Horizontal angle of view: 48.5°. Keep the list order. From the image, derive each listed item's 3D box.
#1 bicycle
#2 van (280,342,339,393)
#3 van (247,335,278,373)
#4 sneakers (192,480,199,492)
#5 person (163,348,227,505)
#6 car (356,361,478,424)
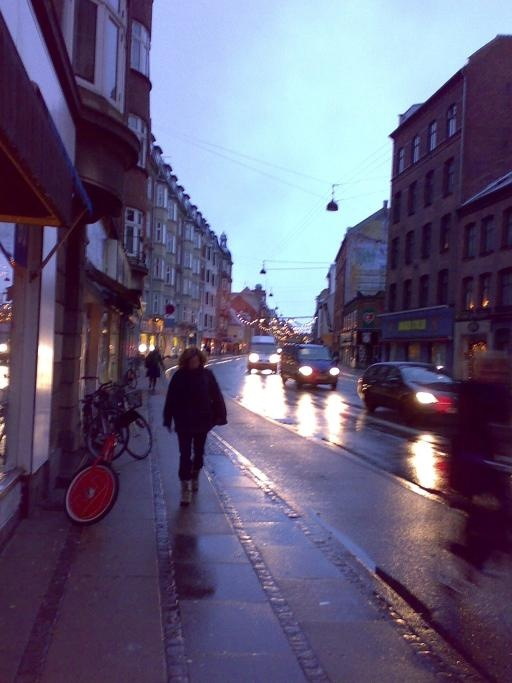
[{"bbox_3d":[-1.696,1.057,5.826,0.745,1.159,1.700,-10,0,2],"label":"bicycle"},{"bbox_3d":[2.240,0.994,24.654,1.502,2.123,3.937,1,1,-11],"label":"van"},{"bbox_3d":[0.357,0.876,37.129,1.262,1.666,2.880,-1,-6,-3],"label":"van"},{"bbox_3d":[-0.664,1.573,6.205,0.061,0.120,0.114,1,-8,-4],"label":"sneakers"},{"bbox_3d":[-0.645,0.829,5.846,0.589,1.663,0.596,-1,19,-13],"label":"person"},{"bbox_3d":[3.776,1.133,13.374,1.090,0.995,2.657,6,-7,-9],"label":"car"}]
